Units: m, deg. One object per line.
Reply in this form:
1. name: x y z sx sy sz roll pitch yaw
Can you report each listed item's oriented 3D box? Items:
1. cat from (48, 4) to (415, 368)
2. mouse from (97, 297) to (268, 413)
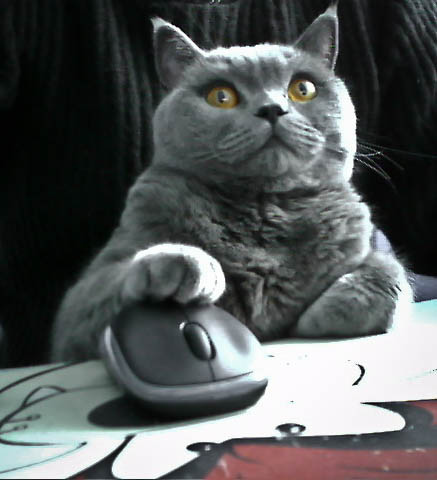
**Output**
1. cat: -0.012 -0.026 1.032 0.376 0.483 0.281 5 66 -16
2. mouse: -0.038 0.099 0.748 0.164 0.065 0.206 -3 17 -16
